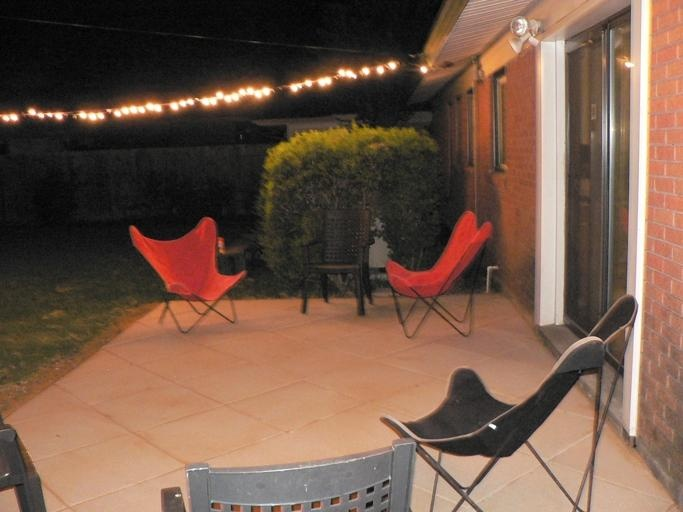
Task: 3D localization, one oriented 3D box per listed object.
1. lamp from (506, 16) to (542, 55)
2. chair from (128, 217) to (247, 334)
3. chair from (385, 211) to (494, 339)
[{"bbox_3d":[1.660,-1.981,4.916,0.275,0.282,0.222,-2,11,-1],"label":"lamp"},{"bbox_3d":[-1.652,0.283,6.230,1.237,1.340,1.273,-4,8,-37],"label":"chair"},{"bbox_3d":[0.902,0.201,5.987,1.251,1.600,1.183,1,10,4],"label":"chair"}]
